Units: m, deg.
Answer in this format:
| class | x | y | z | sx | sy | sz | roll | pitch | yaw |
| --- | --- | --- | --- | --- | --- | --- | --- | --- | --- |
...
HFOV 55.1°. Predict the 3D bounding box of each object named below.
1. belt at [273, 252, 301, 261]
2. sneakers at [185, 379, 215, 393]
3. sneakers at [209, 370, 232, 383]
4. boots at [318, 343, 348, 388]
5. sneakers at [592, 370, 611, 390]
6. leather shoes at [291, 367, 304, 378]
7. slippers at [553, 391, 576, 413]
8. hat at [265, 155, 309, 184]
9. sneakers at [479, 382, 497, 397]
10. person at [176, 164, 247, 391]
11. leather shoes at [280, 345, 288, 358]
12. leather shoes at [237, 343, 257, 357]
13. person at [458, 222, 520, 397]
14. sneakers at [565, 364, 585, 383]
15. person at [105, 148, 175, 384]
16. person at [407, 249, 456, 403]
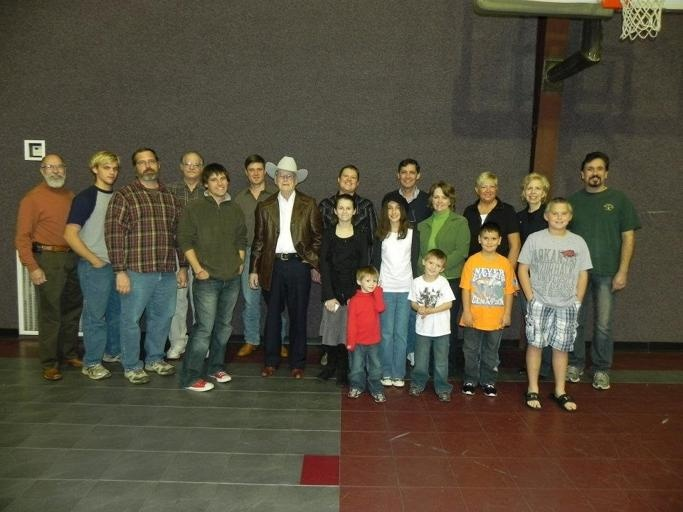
| class | x | y | z | sx | sy | sz | roll | pitch | yaw |
| --- | --- | --- | --- | --- | --- | --- | --- | --- | --- |
| belt | -0.522 | 0.005 | 6.367 | 0.238 | 0.063 | 0.039 | 1 | 0 | -7 |
| sneakers | -1.307 | 1.206 | 6.085 | 0.233 | 0.079 | 0.103 | 0 | 17 | 2 |
| sneakers | -1.161 | 1.153 | 6.292 | 0.224 | 0.071 | 0.096 | 3 | 6 | 39 |
| boots | -0.027 | 1.018 | 6.326 | 0.308 | 0.308 | 0.271 | 1 | 0 | 38 |
| sneakers | 2.478 | 1.193 | 6.301 | 0.125 | 0.081 | 0.215 | -1 | 12 | 25 |
| leather shoes | -0.430 | 1.132 | 6.371 | 0.089 | 0.037 | 0.110 | -2 | 18 | -1 |
| slippers | 1.994 | 1.313 | 5.889 | 0.100 | 0.072 | 0.182 | -23 | 21 | -9 |
| hat | -0.568 | -0.913 | 6.799 | 0.386 | 0.137 | 0.380 | 8 | -20 | -1 |
| sneakers | 1.371 | 1.248 | 6.083 | 0.079 | 0.057 | 0.158 | -1 | 10 | -2 |
| person | -1.212 | 0.327 | 6.122 | 0.382 | 1.818 | 0.517 | 1 | -1 | 35 |
| leather shoes | -0.621 | 1.023 | 7.053 | 0.056 | 0.061 | 0.169 | 0 | 13 | -5 |
| leather shoes | -1.024 | 1.012 | 7.063 | 0.090 | 0.091 | 0.247 | 4 | 6 | 25 |
| person | 1.333 | 0.491 | 6.047 | 0.496 | 1.136 | 0.391 | 2 | -1 | 13 |
| sneakers | 2.277 | 1.160 | 6.444 | 0.109 | 0.082 | 0.222 | -1 | 1 | 34 |
| person | -1.844 | 0.095 | 6.174 | 0.402 | 2.091 | 0.651 | 1 | -1 | 31 |
| person | 0.806 | 0.623 | 5.986 | 0.399 | 1.026 | 0.285 | 2 | -1 | 9 |
